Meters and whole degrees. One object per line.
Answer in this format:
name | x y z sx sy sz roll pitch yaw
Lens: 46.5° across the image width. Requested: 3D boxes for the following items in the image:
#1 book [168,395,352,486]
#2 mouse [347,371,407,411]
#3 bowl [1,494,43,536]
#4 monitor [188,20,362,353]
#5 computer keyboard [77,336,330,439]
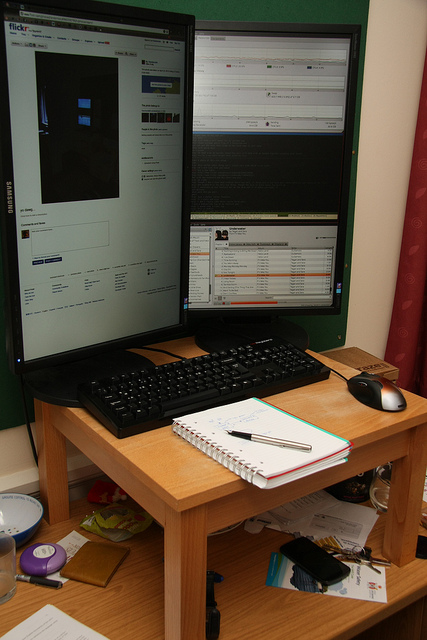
book | 0.058 0.160 0.670 0.172 0.036 0.198 -5 11 -38
mouse | 0.275 0.113 0.834 0.074 0.042 0.118 -5 11 -22
bowl | -0.366 0.362 0.949 0.071 0.040 0.079 -3 9 -27
monitor | 0.129 -0.294 1.034 0.355 0.589 0.091 -1 8 -12
computer keyboard | 0.000 0.104 0.834 0.408 0.055 0.159 -11 20 -30
